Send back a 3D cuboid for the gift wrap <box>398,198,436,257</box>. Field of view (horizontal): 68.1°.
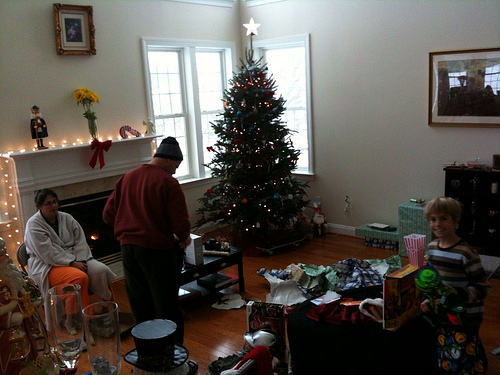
[{"bbox_3d":[2.266,0.466,5.101,0.444,0.697,0.456,11,39,37],"label":"gift wrap"}]

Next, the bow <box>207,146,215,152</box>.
[{"bbox_3d":[-0.594,-0.600,5.688,0.124,0.126,0.044,-12,28,3],"label":"bow"}]

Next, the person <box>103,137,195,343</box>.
[{"bbox_3d":[-0.797,0.374,2.950,0.635,1.484,0.553,-6,13,-12],"label":"person"}]

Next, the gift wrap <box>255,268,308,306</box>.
[{"bbox_3d":[0.363,0.977,3.973,0.484,0.267,0.404,10,17,33],"label":"gift wrap"}]

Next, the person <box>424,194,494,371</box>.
[{"bbox_3d":[1.253,0.582,2.231,0.374,0.959,0.540,2,14,25],"label":"person"}]

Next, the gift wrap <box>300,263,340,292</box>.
[{"bbox_3d":[0.791,0.930,4.007,0.339,0.179,0.407,-11,18,-36],"label":"gift wrap"}]

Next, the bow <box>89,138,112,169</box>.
[{"bbox_3d":[-1.945,-0.448,4.837,0.301,0.410,0.235,-8,13,-20],"label":"bow"}]

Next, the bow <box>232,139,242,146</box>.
[{"bbox_3d":[-0.176,-0.650,5.266,0.102,0.102,0.025,-12,-3,-4],"label":"bow"}]

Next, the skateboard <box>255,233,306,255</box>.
[{"bbox_3d":[0.481,0.833,5.464,0.941,0.153,0.253,-16,19,-39],"label":"skateboard"}]

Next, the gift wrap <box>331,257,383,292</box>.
[{"bbox_3d":[1.121,0.901,3.837,0.495,0.197,0.563,-2,13,5],"label":"gift wrap"}]

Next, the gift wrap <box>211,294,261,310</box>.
[{"bbox_3d":[-0.171,1.246,4.079,0.413,0.074,0.344,4,15,28],"label":"gift wrap"}]

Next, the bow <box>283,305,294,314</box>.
[{"bbox_3d":[0.335,1.059,3.212,0.100,0.030,0.110,2,7,21],"label":"bow"}]

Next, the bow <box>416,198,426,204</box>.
[{"bbox_3d":[2.354,0.185,5.055,0.072,0.071,0.035,0,-25,28],"label":"bow"}]

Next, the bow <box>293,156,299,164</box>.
[{"bbox_3d":[0.689,-0.418,5.561,0.132,0.152,0.016,-16,40,-11],"label":"bow"}]

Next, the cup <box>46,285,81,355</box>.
[{"bbox_3d":[-0.656,0.470,1.335,0.100,0.237,0.169,-10,14,-27],"label":"cup"}]

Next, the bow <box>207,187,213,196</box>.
[{"bbox_3d":[-0.591,0.044,5.528,0.069,0.031,0.083,-5,32,43],"label":"bow"}]

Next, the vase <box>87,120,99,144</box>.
[{"bbox_3d":[-2.041,-0.736,4.813,0.146,0.293,0.292,-8,14,-20],"label":"vase"}]

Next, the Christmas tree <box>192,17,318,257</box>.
[{"bbox_3d":[0.070,-0.481,5.432,1.575,2.819,0.939,-2,13,9],"label":"Christmas tree"}]
